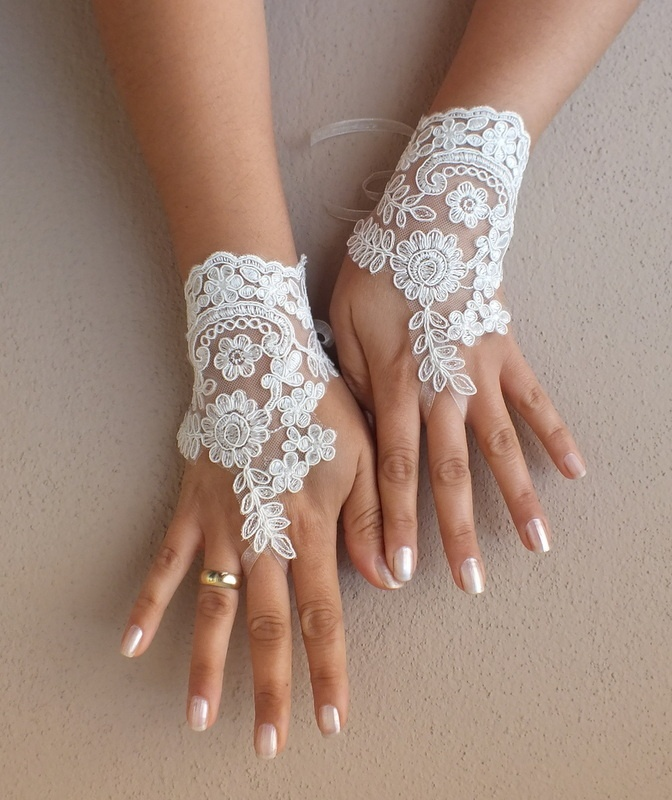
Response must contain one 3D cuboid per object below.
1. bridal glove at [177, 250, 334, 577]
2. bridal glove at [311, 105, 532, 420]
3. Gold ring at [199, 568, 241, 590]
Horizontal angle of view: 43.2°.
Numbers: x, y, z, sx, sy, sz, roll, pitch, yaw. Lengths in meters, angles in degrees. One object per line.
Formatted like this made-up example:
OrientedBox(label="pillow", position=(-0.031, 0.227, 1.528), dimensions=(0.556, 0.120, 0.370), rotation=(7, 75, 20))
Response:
OrientedBox(label="bridal glove", position=(-0.086, 0.008, 0.932), dimensions=(0.211, 0.339, 0.089), rotation=(-10, -8, -2))
OrientedBox(label="bridal glove", position=(0.119, -0.189, 1.041), dimensions=(0.210, 0.353, 0.127), rotation=(10, 9, 10))
OrientedBox(label="Gold ring", position=(-0.131, 0.205, 0.968), dimensions=(0.026, 0.009, 0.027), rotation=(16, -8, 2))
